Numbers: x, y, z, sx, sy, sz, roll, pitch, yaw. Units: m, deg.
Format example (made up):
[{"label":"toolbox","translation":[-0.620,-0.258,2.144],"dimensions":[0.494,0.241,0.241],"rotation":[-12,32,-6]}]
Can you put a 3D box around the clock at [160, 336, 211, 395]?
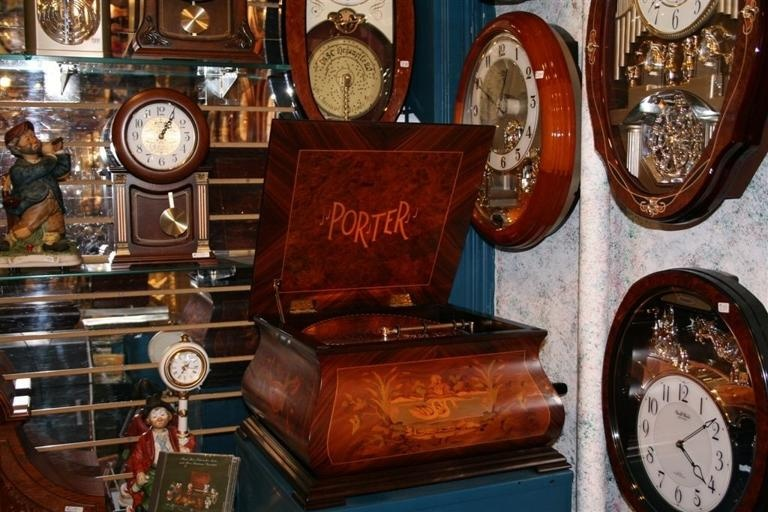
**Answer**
[{"label":"clock","translation":[-0.785,0.422,2.642],"dimensions":[0.174,0.211,0.089],"rotation":[-2,11,-24]}]

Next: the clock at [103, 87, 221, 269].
[{"label":"clock","translation":[-0.905,-0.313,2.760],"dimensions":[0.411,0.708,0.186],"rotation":[2,-7,-21]}]
